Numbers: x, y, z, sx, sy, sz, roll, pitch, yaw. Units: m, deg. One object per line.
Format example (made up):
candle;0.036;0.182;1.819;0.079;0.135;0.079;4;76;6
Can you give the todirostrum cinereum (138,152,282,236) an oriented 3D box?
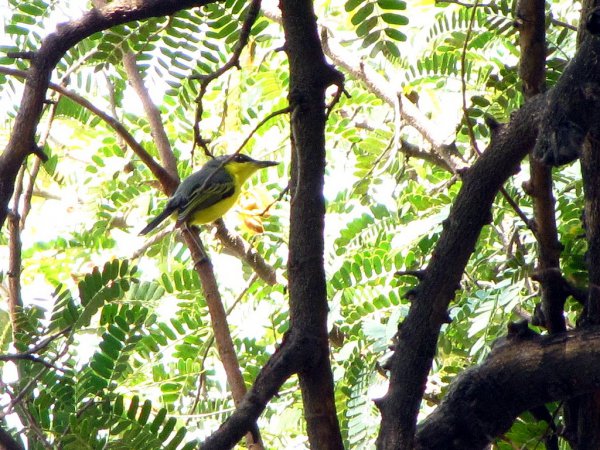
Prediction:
todirostrum cinereum;-0.637;-0.195;6.505;0.995;0.412;0.321;-14;0;-26
